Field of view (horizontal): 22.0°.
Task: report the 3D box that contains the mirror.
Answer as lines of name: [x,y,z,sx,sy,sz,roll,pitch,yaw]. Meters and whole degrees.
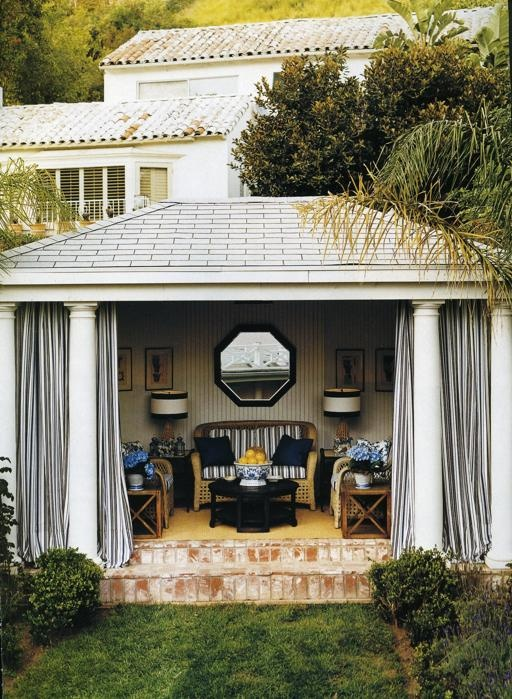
mirror: [0.000,0.273,18.377,0.881,1.306,0.124,-2,3,2]

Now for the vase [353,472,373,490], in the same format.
vase: [1.278,1.619,16.024,0.161,0.162,0.165,0,-1,44]

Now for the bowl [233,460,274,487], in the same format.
bowl: [-0.039,1.579,16.520,0.439,0.211,0.397,-3,2,-9]

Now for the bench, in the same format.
bench: [0.052,1.702,18.207,1.791,1.392,1.378,0,-2,-1]

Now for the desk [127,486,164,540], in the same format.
desk: [-1.331,2.013,16.075,0.397,0.631,0.423,0,-2,-1]

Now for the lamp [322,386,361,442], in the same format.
lamp: [1.127,0.898,18.011,0.490,1.077,0.584,0,1,-4]

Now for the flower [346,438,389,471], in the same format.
flower: [1.353,1.250,16.050,0.339,0.328,0.400,-13,-18,10]

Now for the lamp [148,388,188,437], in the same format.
lamp: [-1.154,0.870,17.868,0.449,0.759,0.545,0,0,9]
